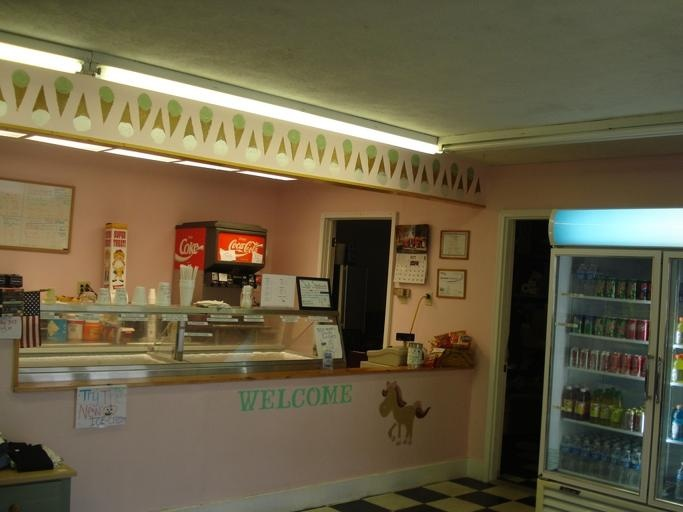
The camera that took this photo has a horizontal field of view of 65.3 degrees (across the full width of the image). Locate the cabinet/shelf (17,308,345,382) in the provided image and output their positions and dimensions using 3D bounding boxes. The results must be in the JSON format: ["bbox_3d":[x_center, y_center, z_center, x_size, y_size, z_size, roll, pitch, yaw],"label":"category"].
[{"bbox_3d":[-1.348,0.663,4.171,2.625,0.603,0.532,3,-4,-38],"label":"cabinet/shelf"}]

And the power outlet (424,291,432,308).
[{"bbox_3d":[1.029,0.504,6.323,0.112,0.166,0.018,0,-3,39],"label":"power outlet"}]

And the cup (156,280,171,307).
[{"bbox_3d":[-1.471,0.307,4.407,0.110,0.178,0.343,2,-2,-20],"label":"cup"}]

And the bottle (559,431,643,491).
[{"bbox_3d":[2.168,1.697,4.522,0.634,0.319,0.301,0,-2,33],"label":"bottle"}]

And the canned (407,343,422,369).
[{"bbox_3d":[0.771,1.029,5.600,0.157,0.251,0.153,1,-2,0],"label":"canned"}]

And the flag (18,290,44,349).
[{"bbox_3d":[-2.047,0.422,3.524,0.118,0.395,0.318,3,-2,-29],"label":"flag"}]

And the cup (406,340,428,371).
[{"bbox_3d":[0.797,1.037,5.640,0.239,0.363,0.246,0,1,0],"label":"cup"}]
